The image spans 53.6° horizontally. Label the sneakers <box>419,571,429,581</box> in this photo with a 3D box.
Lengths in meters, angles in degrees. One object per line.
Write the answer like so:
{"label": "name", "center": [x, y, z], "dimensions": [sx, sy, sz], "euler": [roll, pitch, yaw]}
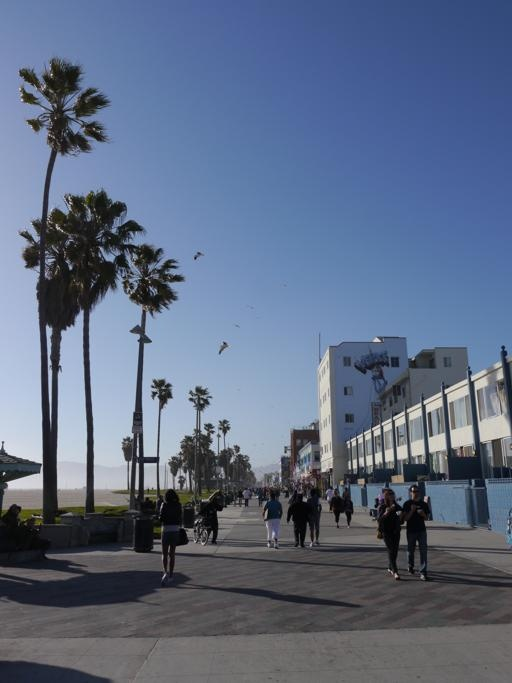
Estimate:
{"label": "sneakers", "center": [2.956, 4.096, 8.940], "dimensions": [0.068, 0.125, 0.244], "euler": [0, -8, 5]}

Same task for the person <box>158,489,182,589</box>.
{"label": "person", "center": [-1.579, 3.564, 9.416], "dimensions": [0.374, 1.598, 1.543], "euler": [1, -14, -10]}

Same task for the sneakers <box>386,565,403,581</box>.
{"label": "sneakers", "center": [2.533, 4.192, 9.242], "dimensions": [0.141, 0.157, 0.493], "euler": [-2, -20, 0]}

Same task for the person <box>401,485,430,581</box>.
{"label": "person", "center": [2.879, 3.380, 9.085], "dimensions": [0.439, 1.588, 0.983], "euler": [-5, -13, 18]}

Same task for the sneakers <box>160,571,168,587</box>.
{"label": "sneakers", "center": [-1.587, 4.120, 8.862], "dimensions": [0.099, 0.200, 0.401], "euler": [0, -16, -6]}

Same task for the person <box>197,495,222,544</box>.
{"label": "person", "center": [-1.631, 6.340, 18.491], "dimensions": [0.753, 1.630, 3.262], "euler": [0, -16, -5]}

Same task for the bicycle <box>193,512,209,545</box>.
{"label": "bicycle", "center": [-1.869, 6.434, 17.396], "dimensions": [0.447, 0.758, 1.072], "euler": [9, -22, -13]}
